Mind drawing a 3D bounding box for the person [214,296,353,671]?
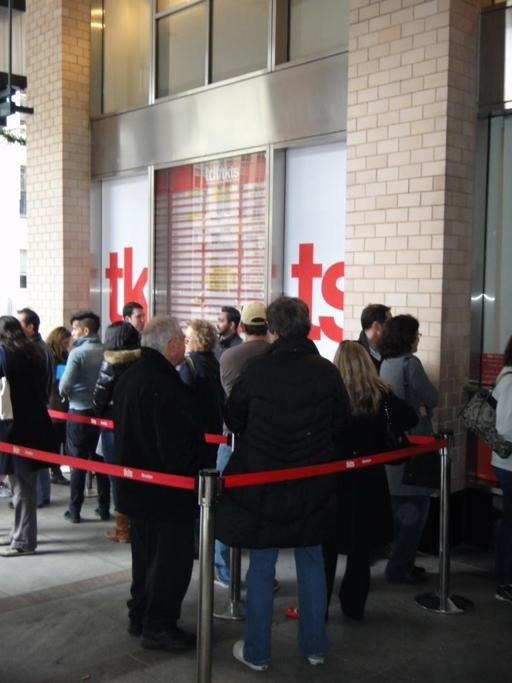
[{"bbox_3d":[0.116,0.616,2.940,0.573,1.622,0.386,1,-1,-3],"label":"person"}]

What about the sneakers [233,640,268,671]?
[{"bbox_3d":[-0.033,1.397,3.035,0.066,0.063,0.182,-2,9,-32],"label":"sneakers"}]

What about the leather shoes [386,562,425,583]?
[{"bbox_3d":[0.934,1.430,4.205,0.276,0.127,0.096,-3,3,-17],"label":"leather shoes"}]

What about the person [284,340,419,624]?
[{"bbox_3d":[0.431,0.714,3.560,0.623,1.478,0.492,4,9,-16],"label":"person"}]
